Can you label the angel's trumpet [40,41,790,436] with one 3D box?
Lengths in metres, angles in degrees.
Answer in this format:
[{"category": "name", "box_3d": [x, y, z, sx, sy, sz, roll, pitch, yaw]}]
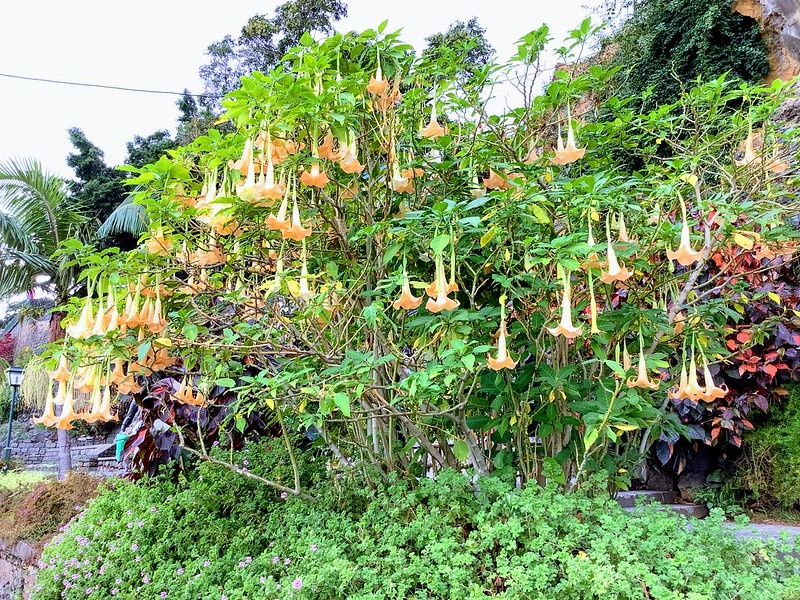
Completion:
[{"category": "angel's trumpet", "box_3d": [0.061, -0.388, 4.476, 3.676, 2.482, 3.244, 0, 8, -2]}]
